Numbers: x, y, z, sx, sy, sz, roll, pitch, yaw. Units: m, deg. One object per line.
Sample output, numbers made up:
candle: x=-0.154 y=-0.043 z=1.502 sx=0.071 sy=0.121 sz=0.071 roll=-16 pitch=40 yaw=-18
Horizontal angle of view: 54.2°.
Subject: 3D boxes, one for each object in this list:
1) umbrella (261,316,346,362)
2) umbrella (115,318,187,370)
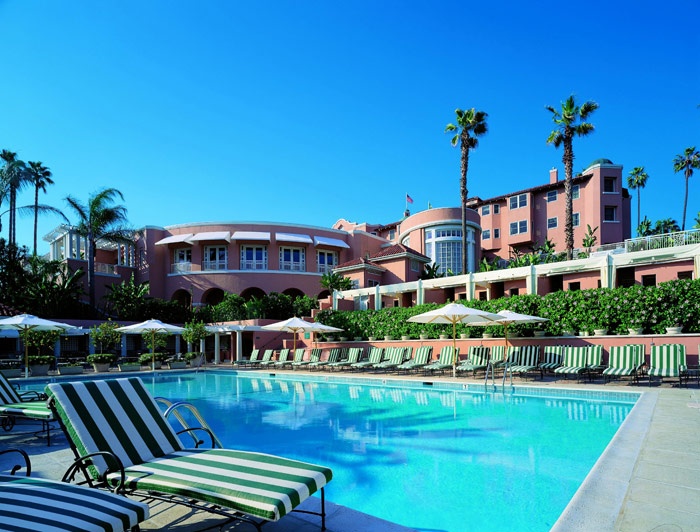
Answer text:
umbrella: x=-2.462 y=3.979 z=39.267 sx=3.745 sy=1.799 sz=2.087 roll=1 pitch=-2 yaw=15
umbrella: x=-10.798 y=4.362 z=37.482 sx=2.776 sy=2.873 sz=4.405 roll=-2 pitch=-2 yaw=-7
